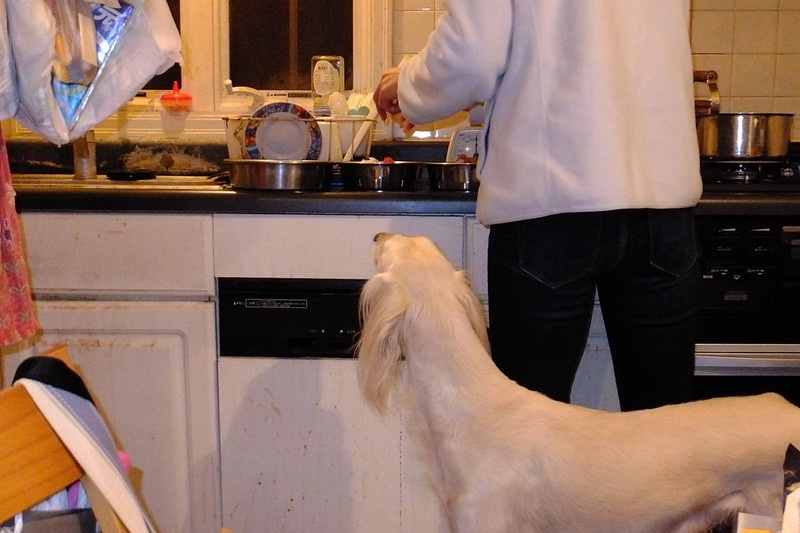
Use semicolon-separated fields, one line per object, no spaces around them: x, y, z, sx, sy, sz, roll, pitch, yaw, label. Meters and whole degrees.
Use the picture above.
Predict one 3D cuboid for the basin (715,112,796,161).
1.093;-0.409;2.435;0.218;0.126;0.073;-2;9;-8;basin
